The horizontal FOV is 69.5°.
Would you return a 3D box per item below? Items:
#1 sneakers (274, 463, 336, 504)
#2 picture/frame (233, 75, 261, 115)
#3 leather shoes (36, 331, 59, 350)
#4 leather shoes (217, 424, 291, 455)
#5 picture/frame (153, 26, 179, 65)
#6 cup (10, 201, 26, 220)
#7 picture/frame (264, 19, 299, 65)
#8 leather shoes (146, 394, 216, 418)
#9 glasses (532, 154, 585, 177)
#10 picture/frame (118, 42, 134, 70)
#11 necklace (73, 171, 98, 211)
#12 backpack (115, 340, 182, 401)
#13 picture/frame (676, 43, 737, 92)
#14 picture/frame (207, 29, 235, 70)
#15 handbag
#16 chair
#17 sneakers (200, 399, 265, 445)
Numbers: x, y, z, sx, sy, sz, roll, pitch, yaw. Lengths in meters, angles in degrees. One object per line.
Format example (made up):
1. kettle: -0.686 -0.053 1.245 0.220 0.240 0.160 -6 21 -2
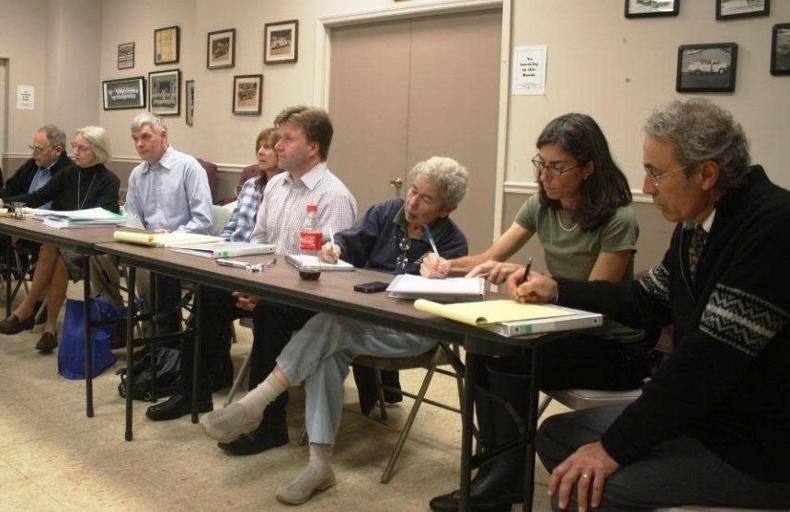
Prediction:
1. sneakers: -0.414 1.031 2.688 0.294 0.190 0.112 -7 5 -36
2. picture/frame: -1.583 -1.751 6.158 0.441 0.486 0.035 4 3 35
3. leather shoes: -2.535 0.633 4.155 0.075 0.085 0.207 3 -4 -9
4. leather shoes: -0.724 0.922 2.944 0.317 0.146 0.144 1 -1 -33
5. picture/frame: -2.903 -2.681 7.272 0.447 0.456 0.047 9 11 32
6. cup: -2.666 -0.338 4.079 0.090 0.153 0.153 1 2 -22
7. picture/frame: -1.151 -2.204 5.848 0.484 0.501 0.035 3 5 36
8. leather shoes: -1.234 0.842 3.342 0.385 0.151 0.140 2 -1 -37
9. glasses: 0.767 -0.408 2.618 0.156 0.048 0.155 -7 20 -36
10. picture/frame: -3.678 -2.751 7.826 0.410 0.428 0.041 3 0 39
11. necklace: -2.610 -0.576 4.821 0.101 0.418 0.019 -6 -30 11
12. backpack: -1.499 0.676 3.549 0.424 0.155 0.312 -27 49 -37
13. picture/frame: 2.117 -1.278 3.851 0.336 0.297 0.023 7 7 37
14. picture/frame: -1.912 -2.302 6.326 0.487 0.506 0.035 3 0 37
15. handbag: -2.069 0.534 3.891 0.316 0.509 0.513 5 3 -4
16. chair: 0.209 0.571 2.396 1.065 0.525 0.732 -1 0 43
17. sneakers: -0.738 0.769 2.693 0.282 0.161 0.141 -15 -7 -3
